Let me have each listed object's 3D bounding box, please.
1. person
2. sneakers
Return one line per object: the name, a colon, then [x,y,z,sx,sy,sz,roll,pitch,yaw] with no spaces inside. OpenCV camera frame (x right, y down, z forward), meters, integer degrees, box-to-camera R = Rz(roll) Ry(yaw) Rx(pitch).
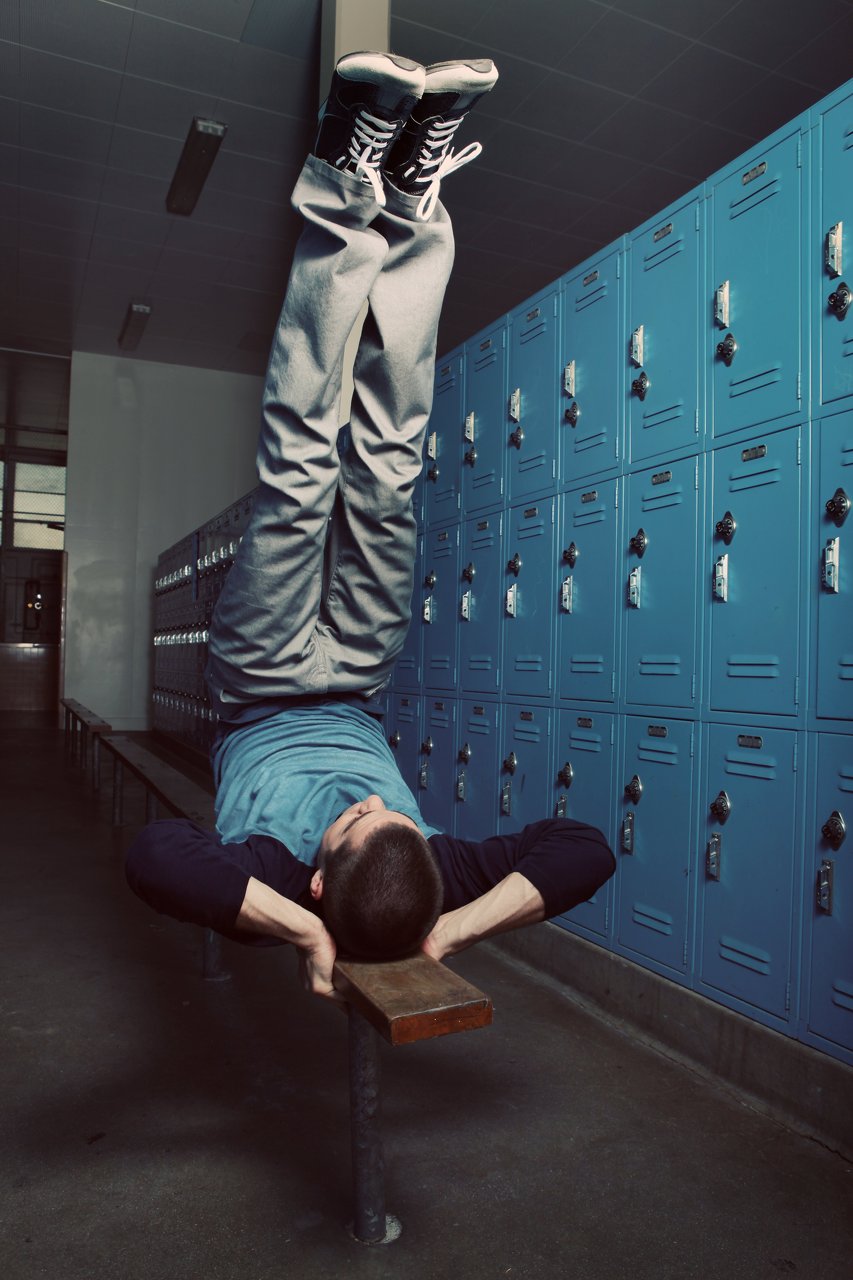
person: [-0.195,-0.183,1.923,0.914,2.189,0.491,2,-10,-26]
sneakers: [-0.063,-0.996,1.901,0.263,0.164,0.399,-9,-6,-8]
